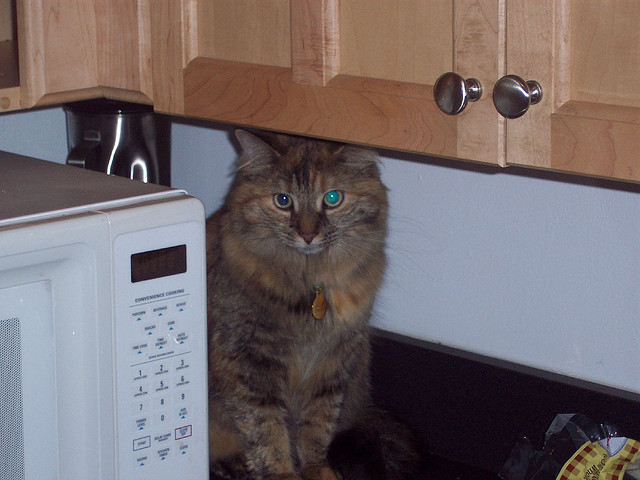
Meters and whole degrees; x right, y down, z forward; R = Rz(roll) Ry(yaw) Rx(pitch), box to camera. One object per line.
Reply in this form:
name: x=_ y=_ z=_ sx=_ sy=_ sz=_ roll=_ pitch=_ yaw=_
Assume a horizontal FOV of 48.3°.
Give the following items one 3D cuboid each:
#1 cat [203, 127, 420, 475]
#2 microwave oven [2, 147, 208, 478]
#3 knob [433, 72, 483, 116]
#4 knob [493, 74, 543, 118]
cat: x=-0.087 y=0.144 z=1.519 sx=0.404 sy=0.826 sz=0.661 roll=2 pitch=-6 yaw=-18
microwave oven: x=-0.278 y=0.052 z=1.200 sx=0.354 sy=0.581 sz=0.353 roll=-6 pitch=9 yaw=-39
knob: x=0.159 y=-0.176 z=0.863 sx=0.047 sy=0.052 sz=0.052 roll=5 pitch=18 yaw=4
knob: x=0.234 y=-0.177 z=0.841 sx=0.048 sy=0.055 sz=0.050 roll=-30 pitch=40 yaw=-32
